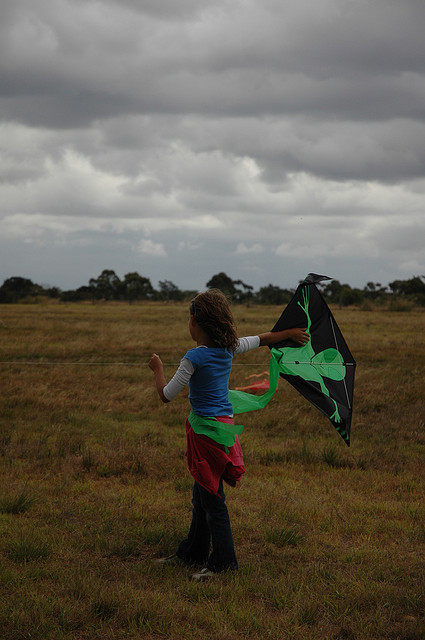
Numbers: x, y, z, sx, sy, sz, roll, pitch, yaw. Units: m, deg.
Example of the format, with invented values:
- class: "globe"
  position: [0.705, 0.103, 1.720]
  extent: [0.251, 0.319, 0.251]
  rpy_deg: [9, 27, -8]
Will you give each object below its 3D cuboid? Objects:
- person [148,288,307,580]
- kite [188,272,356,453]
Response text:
- class: "person"
  position: [0.056, 0.789, 5.409]
  extent: [0.877, 2.098, 1.496]
  rpy_deg: [4, 7, 10]
- class: "kite"
  position: [0.602, 0.430, 5.408]
  extent: [1.561, 1.193, 0.653]
  rpy_deg: [-19, 19, -32]
